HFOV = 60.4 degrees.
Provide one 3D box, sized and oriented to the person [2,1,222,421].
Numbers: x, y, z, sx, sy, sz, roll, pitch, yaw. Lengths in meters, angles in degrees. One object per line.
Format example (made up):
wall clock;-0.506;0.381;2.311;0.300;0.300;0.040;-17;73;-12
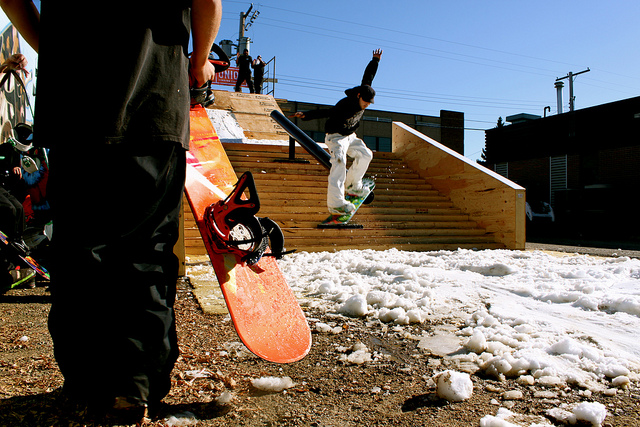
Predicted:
person;-1.029;-0.029;2.994;0.859;2.212;0.446;-4;8;-27
